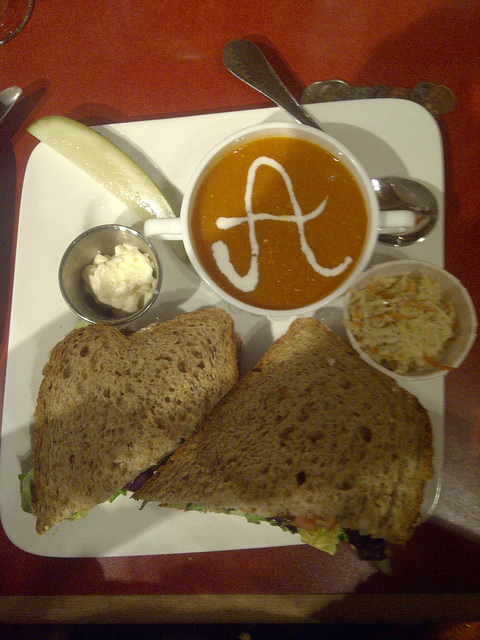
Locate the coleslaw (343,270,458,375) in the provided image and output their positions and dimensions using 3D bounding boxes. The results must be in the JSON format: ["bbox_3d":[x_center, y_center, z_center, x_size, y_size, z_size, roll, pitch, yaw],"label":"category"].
[{"bbox_3d":[0.563,0.010,2.060,0.392,0.135,0.352,-3,91,3],"label":"coleslaw"}]

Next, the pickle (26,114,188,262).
[{"bbox_3d":[-0.513,-0.598,2.193,0.671,0.100,0.156,38,84,10],"label":"pickle"}]

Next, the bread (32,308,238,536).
[{"bbox_3d":[-0.377,0.355,2.349,1.086,0.266,0.691,-27,89,-4],"label":"bread"}]
